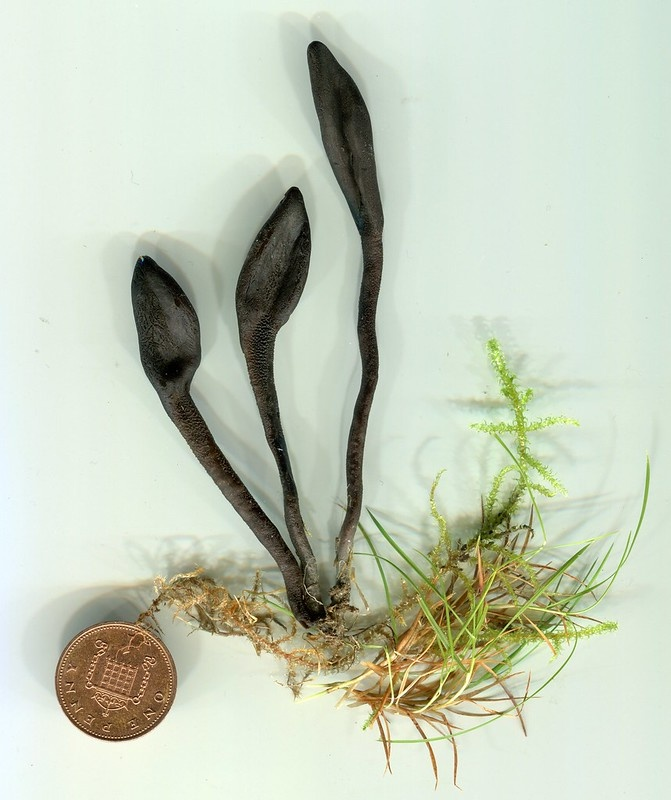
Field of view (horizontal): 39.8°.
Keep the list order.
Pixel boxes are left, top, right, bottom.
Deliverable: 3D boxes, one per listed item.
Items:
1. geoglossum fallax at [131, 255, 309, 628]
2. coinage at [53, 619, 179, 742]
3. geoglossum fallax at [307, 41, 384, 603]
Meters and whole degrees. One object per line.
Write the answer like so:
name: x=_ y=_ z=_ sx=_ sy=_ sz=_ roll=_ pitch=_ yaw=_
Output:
geoglossum fallax: x=-0.192 y=0.072 z=1.518 sx=0.270 sy=0.615 sz=0.079 roll=2 pitch=15 yaw=27
coinage: x=-0.374 y=0.461 z=1.534 sx=0.254 sy=0.217 sz=0.032 roll=1 pitch=3 yaw=-2
geoglossum fallax: x=0.012 y=-0.163 z=1.489 sx=0.160 sy=0.762 sz=0.054 roll=3 pitch=10 yaw=2
